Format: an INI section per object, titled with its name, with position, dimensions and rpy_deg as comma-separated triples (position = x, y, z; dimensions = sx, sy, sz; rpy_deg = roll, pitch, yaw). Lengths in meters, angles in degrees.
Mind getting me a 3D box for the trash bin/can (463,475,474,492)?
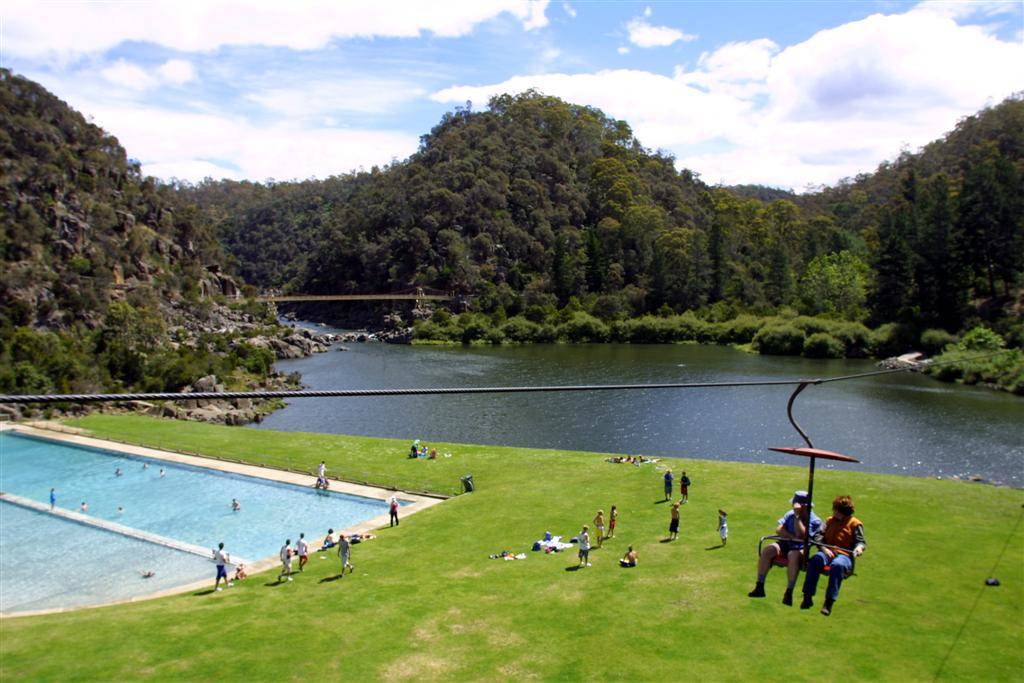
[trash bin/can]
position = -2.457, 9.104, 48.831
dimensions = 1.074, 1.006, 0.766
rpy_deg = 0, -13, -16
